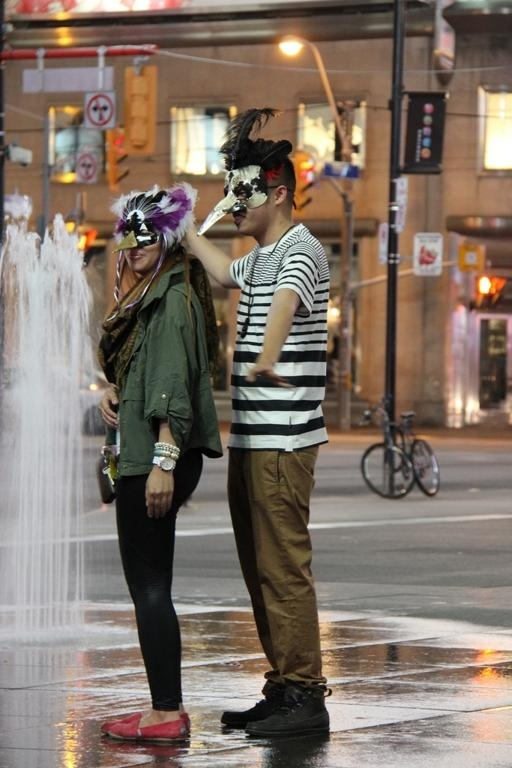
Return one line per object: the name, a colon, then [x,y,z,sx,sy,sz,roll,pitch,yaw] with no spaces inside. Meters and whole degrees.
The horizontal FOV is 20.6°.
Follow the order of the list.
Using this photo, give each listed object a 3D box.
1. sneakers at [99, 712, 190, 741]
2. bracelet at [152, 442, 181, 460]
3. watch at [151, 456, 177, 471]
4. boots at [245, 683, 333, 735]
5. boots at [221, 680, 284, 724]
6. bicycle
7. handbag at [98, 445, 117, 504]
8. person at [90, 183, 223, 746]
sneakers: [-0.359,1.070,4.473,0.244,0.078,0.109,0,-11,16]
bracelet: [-0.282,0.211,4.355,0.051,0.037,0.063,0,-7,35]
watch: [-0.278,0.249,4.353,0.062,0.038,0.061,7,4,-30]
boots: [0.122,1.077,4.587,0.302,0.199,0.120,4,-39,-19]
boots: [0.007,1.073,4.686,0.249,0.165,0.092,7,-9,-24]
bicycle: [0.868,0.409,8.622,0.339,0.583,1.034,2,1,-9]
handbag: [-0.502,0.320,4.764,0.055,0.165,0.116,3,9,-10]
person: [-0.323,0.226,4.642,0.399,1.813,0.610,2,2,-7]
